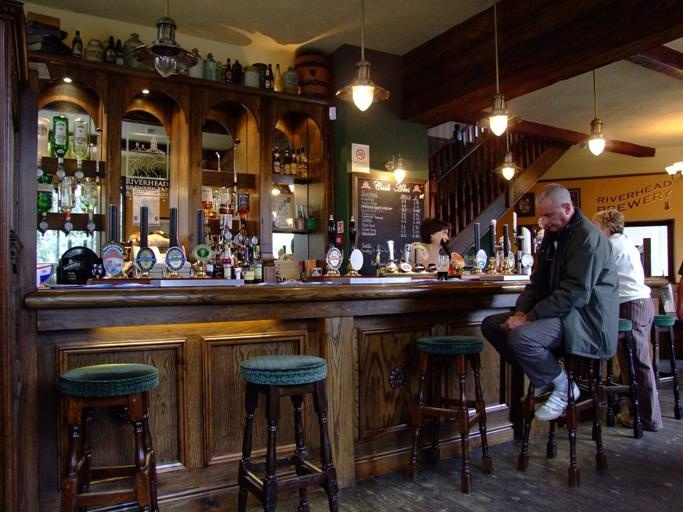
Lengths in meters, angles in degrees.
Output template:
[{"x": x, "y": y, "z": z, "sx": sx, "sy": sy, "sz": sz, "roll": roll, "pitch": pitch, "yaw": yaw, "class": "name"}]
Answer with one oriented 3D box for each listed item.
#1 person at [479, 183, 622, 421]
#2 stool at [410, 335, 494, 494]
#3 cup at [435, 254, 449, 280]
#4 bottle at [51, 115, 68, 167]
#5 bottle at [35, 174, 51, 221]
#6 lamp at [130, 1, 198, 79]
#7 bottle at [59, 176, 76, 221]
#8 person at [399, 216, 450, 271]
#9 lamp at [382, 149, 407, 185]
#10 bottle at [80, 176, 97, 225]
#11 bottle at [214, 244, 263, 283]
[{"x": 1.544, "y": 0.359, "z": 4.119, "sx": 0.906, "sy": 1.749, "sz": 0.575, "roll": 1, "pitch": 3, "yaw": 12, "class": "person"}, {"x": 0.805, "y": 1.122, "z": 4.168, "sx": 0.724, "sy": 0.959, "sz": 0.681, "roll": 4, "pitch": -6, "yaw": -29, "class": "stool"}, {"x": 0.864, "y": 0.096, "z": 4.831, "sx": 0.086, "sy": 0.214, "sz": 0.065, "roll": 1, "pitch": 3, "yaw": 21, "class": "cup"}, {"x": -2.808, "y": -1.139, "z": 5.660, "sx": 0.161, "sy": 0.473, "sz": 0.334, "roll": -1, "pitch": 3, "yaw": -27, "class": "bottle"}, {"x": -2.860, "y": -0.587, "z": 5.463, "sx": 0.122, "sy": 0.407, "sz": 0.273, "roll": -1, "pitch": 3, "yaw": -28, "class": "bottle"}, {"x": -1.330, "y": -1.572, "z": 4.310, "sx": 0.437, "sy": 0.322, "sz": 0.546, "roll": -2, "pitch": 3, "yaw": -35, "class": "lamp"}, {"x": -2.727, "y": -0.564, "z": 5.637, "sx": 0.141, "sy": 0.446, "sz": 0.284, "roll": -1, "pitch": 3, "yaw": -26, "class": "bottle"}, {"x": 0.898, "y": -0.132, "z": 5.881, "sx": 0.397, "sy": 0.514, "sz": 0.742, "roll": 1, "pitch": 3, "yaw": 13, "class": "person"}, {"x": 0.733, "y": -1.079, "z": 7.104, "sx": 0.355, "sy": 0.363, "sz": 0.179, "roll": -2, "pitch": 4, "yaw": -43, "class": "lamp"}, {"x": -2.568, "y": -0.536, "z": 5.760, "sx": 0.156, "sy": 0.491, "sz": 0.334, "roll": -1, "pitch": 3, "yaw": -24, "class": "bottle"}, {"x": -0.979, "y": 0.100, "z": 5.415, "sx": 0.462, "sy": 0.463, "sz": 0.387, "roll": 1, "pitch": -9, "yaw": -11, "class": "bottle"}]
